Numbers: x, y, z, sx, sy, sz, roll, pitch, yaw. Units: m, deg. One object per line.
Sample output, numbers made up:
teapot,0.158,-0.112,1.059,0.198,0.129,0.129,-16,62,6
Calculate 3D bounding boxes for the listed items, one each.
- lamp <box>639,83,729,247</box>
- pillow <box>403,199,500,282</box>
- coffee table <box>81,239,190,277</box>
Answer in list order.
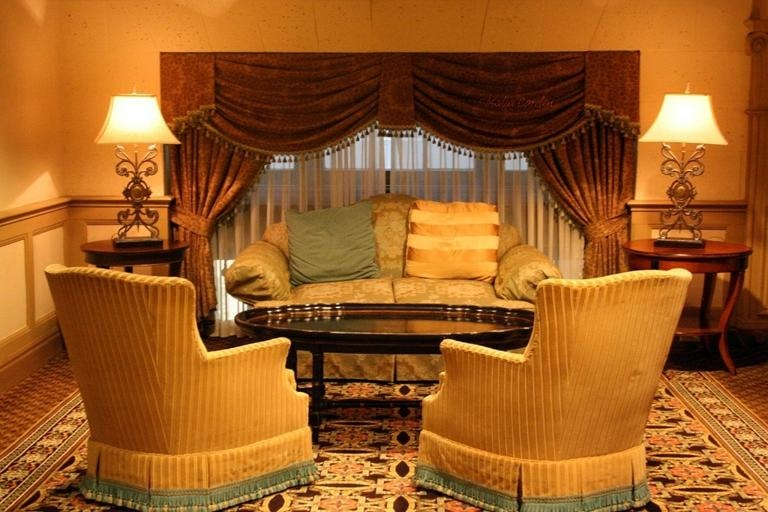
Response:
lamp,2.331,-0.718,4.835,0.583,1.246,0.903,8,17,25
pillow,0.541,-0.143,4.758,0.777,0.578,0.220,1,-13,3
coffee table,-1.880,-0.044,4.640,0.494,0.407,0.480,10,14,24
